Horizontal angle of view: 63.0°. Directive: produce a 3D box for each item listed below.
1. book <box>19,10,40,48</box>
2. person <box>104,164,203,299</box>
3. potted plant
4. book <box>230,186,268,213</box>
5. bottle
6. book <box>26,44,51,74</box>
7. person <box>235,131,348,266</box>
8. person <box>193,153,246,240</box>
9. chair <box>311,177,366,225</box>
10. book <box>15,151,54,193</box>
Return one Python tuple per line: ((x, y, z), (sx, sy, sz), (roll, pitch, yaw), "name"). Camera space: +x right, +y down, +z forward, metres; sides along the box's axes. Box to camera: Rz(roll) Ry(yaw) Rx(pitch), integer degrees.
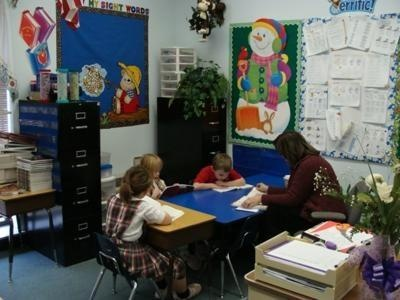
((-2.058, -1.452, 3.931), (0.090, 0.340, 0.348), (-12, 49, -38), "book")
((-0.419, 0.764, 2.749), (0.731, 1.294, 0.395), (-4, 12, -19), "person")
((-0.005, -0.838, 5.136), (0.837, 0.890, 0.977), (21, 32, 37), "potted plant")
((0.459, 0.476, 3.182), (0.194, 0.070, 0.194), (-22, 21, -37), "book")
((-1.534, -0.704, 3.550), (0.299, 0.341, 0.467), (-11, 16, -42), "bottle")
((-1.939, -1.143, 4.072), (0.271, 0.274, 0.095), (-5, 3, 19), "book")
((0.940, 0.328, 3.132), (1.087, 1.541, 0.775), (2, -6, 15), "person")
((0.207, 0.484, 3.885), (0.594, 0.978, 0.491), (-2, 24, -18), "person")
((1.342, 0.466, 3.006), (0.368, 0.316, 0.812), (11, 17, 44), "chair")
((-1.805, 0.215, 3.654), (0.331, 0.429, 0.423), (11, 11, 43), "book")
